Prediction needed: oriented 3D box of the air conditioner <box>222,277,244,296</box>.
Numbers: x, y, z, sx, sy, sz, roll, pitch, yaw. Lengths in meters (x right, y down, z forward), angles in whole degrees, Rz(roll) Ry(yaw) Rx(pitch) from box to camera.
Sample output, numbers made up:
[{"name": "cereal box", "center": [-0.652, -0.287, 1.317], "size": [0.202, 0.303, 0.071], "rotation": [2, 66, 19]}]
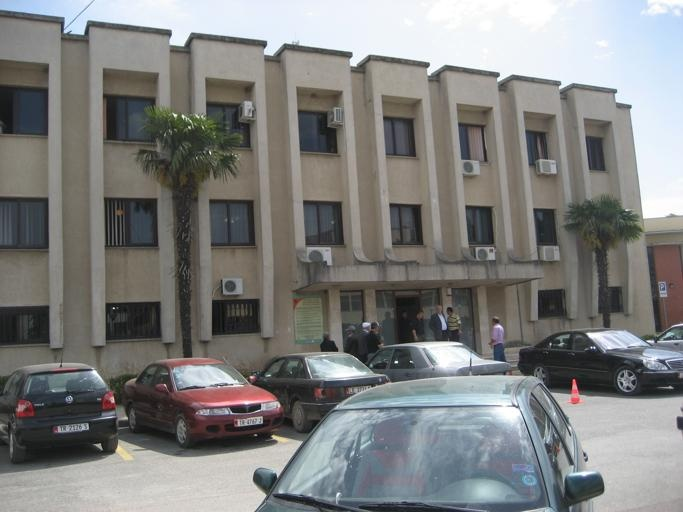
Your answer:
[{"name": "air conditioner", "center": [-4.059, 1.132, 22.398], "size": [0.593, 0.591, 0.596], "rotation": [1, -7, -19]}]

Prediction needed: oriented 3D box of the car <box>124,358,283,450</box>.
[{"name": "car", "center": [-3.171, 3.195, 13.594], "size": [3.819, 1.646, 1.842], "rotation": [-5, -2, 44]}]

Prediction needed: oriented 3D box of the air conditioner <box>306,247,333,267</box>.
[{"name": "air conditioner", "center": [-0.770, -0.020, 23.619], "size": [0.709, 0.650, 1.561], "rotation": [-4, -1, 38]}]

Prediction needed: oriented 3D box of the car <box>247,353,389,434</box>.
[{"name": "car", "center": [-0.890, 3.104, 14.476], "size": [1.521, 1.256, 3.382], "rotation": [4, -5, -32]}]

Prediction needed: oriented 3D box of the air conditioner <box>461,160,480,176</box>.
[{"name": "air conditioner", "center": [5.633, -3.863, 26.641], "size": [0.963, 0.796, 0.558], "rotation": [2, -9, -23]}]

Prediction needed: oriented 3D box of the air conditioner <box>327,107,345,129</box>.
[{"name": "air conditioner", "center": [-0.264, -5.501, 24.699], "size": [0.600, 1.034, 0.955], "rotation": [-4, 11, -23]}]

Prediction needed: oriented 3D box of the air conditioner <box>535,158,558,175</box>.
[{"name": "air conditioner", "center": [9.593, -4.121, 28.488], "size": [1.029, 0.923, 0.608], "rotation": [4, -11, -24]}]

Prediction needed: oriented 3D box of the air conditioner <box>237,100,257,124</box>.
[{"name": "air conditioner", "center": [-3.620, -5.505, 23.412], "size": [0.622, 0.870, 0.817], "rotation": [2, -6, -11]}]

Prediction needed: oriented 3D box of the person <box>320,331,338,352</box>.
[{"name": "person", "center": [-0.440, 2.820, 19.668], "size": [0.454, 0.560, 0.846], "rotation": [-3, -1, -3]}]

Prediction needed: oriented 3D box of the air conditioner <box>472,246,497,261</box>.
[{"name": "air conditioner", "center": [6.060, -0.143, 25.874], "size": [0.863, 0.598, 0.516], "rotation": [-3, -1, -2]}]

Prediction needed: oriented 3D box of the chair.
[{"name": "chair", "center": [0.437, 1.858, 5.541], "size": [0.474, 0.681, 0.739], "rotation": [-4, 1, 10]}]

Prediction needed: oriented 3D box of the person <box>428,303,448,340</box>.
[{"name": "person", "center": [3.443, 2.379, 21.631], "size": [0.594, 1.256, 2.098], "rotation": [-3, -1, 10]}]

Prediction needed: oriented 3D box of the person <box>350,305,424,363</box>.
[{"name": "person", "center": [1.429, 2.624, 20.631], "size": [2.204, 1.237, 1.328], "rotation": [-6, -4, 40]}]
